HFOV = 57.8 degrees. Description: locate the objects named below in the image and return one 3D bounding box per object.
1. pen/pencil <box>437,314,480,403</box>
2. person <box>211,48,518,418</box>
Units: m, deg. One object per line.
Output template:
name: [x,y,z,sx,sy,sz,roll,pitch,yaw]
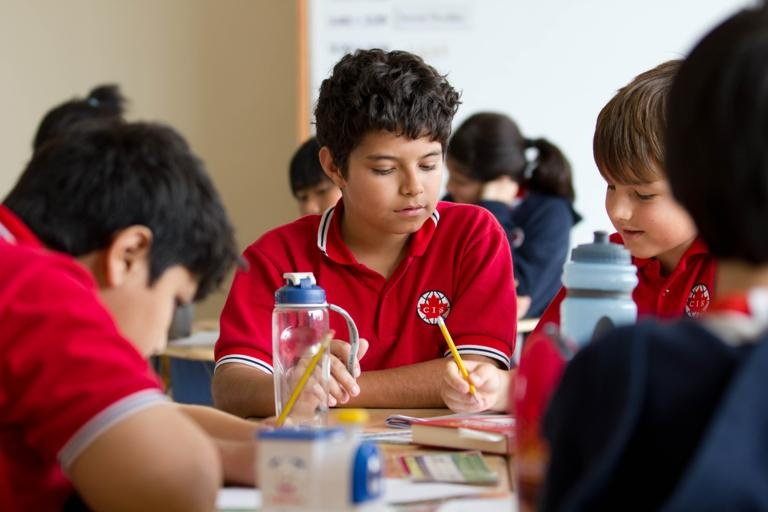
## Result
pen/pencil: [0.163,0.219,1.489,0.020,0.204,0.019,-19,11,20]
person: [-0.056,-0.006,1.688,0.673,0.939,0.487,0,-4,-12]
